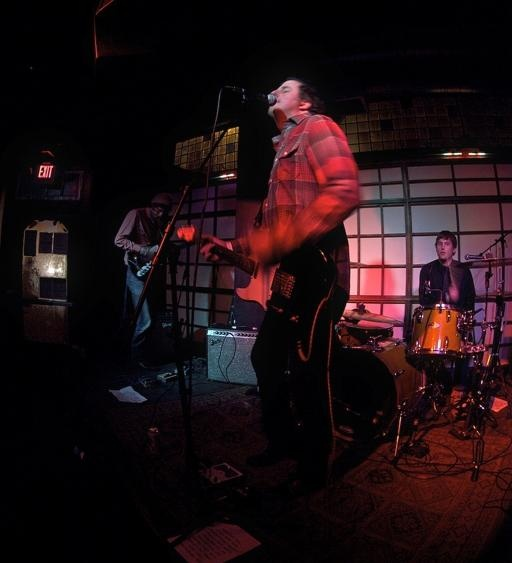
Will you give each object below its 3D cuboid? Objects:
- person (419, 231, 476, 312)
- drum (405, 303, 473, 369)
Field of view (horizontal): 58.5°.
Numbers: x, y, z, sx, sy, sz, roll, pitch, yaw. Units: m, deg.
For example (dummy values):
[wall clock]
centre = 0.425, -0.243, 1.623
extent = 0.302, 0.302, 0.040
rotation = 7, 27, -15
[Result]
[person]
centre = 1.989, 0.008, 4.759
extent = 0.570, 1.070, 0.490
rotation = -3, 9, 5
[drum]
centre = 1.369, 0.456, 3.541
extent = 0.448, 0.453, 0.453
rotation = 13, -15, -17
